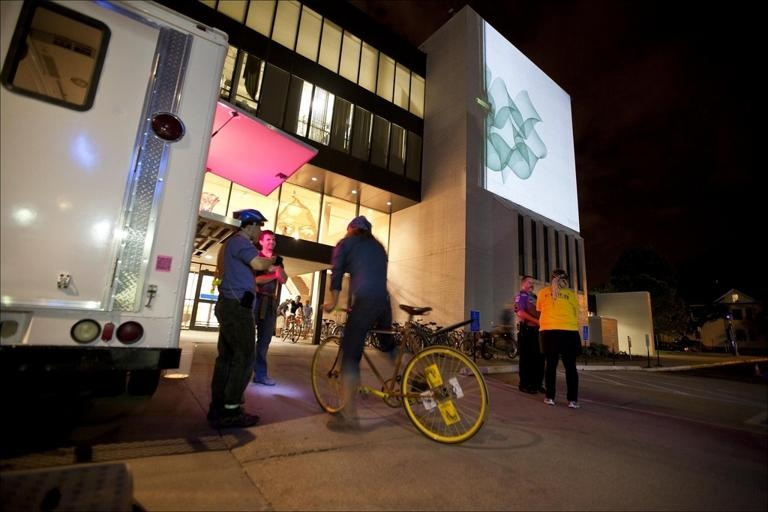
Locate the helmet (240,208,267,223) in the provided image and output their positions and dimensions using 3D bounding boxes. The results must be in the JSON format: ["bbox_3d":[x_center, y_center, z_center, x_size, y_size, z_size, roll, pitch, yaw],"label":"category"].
[{"bbox_3d":[-1.608,-0.486,5.609,0.276,0.132,0.185,-1,4,-31],"label":"helmet"}]

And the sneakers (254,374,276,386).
[{"bbox_3d":[-1.787,1.850,6.759,0.353,0.145,0.132,3,-8,0],"label":"sneakers"}]

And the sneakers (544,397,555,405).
[{"bbox_3d":[2.490,2.179,6.798,0.071,0.073,0.183,2,-4,1],"label":"sneakers"}]

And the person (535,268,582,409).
[{"bbox_3d":[2.633,1.218,6.875,0.660,2.011,0.591,2,-3,23],"label":"person"}]

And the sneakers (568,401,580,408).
[{"bbox_3d":[2.783,2.184,6.639,0.081,0.075,0.199,-21,-32,25],"label":"sneakers"}]
